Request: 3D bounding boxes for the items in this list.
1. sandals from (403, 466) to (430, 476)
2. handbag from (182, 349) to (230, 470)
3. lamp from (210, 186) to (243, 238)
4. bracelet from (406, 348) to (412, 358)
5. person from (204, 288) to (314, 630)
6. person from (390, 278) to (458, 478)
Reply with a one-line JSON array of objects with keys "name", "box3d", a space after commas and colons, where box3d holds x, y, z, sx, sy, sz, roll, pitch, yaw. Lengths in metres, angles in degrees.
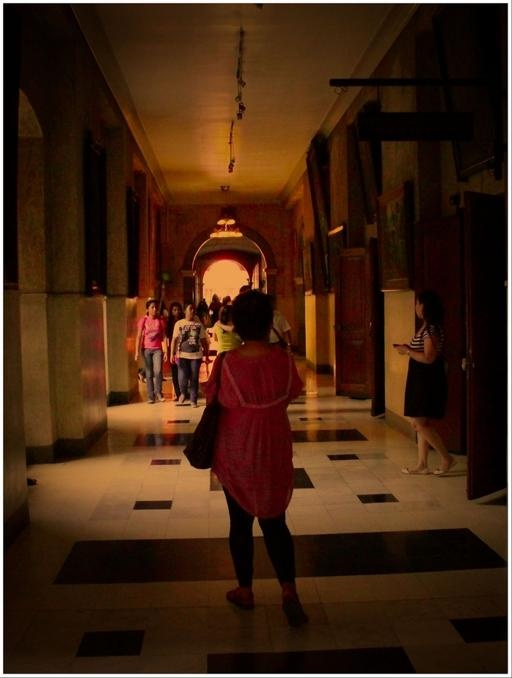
[{"name": "sandals", "box3d": [1.531, 1.257, 4.652, 0.225, 0.082, 0.104, 8, -1, 4]}, {"name": "handbag", "box3d": [-0.229, 0.294, 1.999, 0.082, 0.447, 0.227, 8, 16, 9]}, {"name": "lamp", "box3d": [-1.114, -4.632, 17.742, 1.368, 2.176, 1.596, 0, 0, 1]}, {"name": "bracelet", "box3d": [1.323, 0.118, 4.196, 0.014, 0.078, 0.047, 0, -6, -21]}, {"name": "person", "box3d": [0.005, 0.501, 2.036, 0.381, 1.369, 0.345, -1, -2, 8]}, {"name": "person", "box3d": [1.500, 0.429, 4.396, 0.405, 1.684, 0.716, -2, -3, 22]}]
